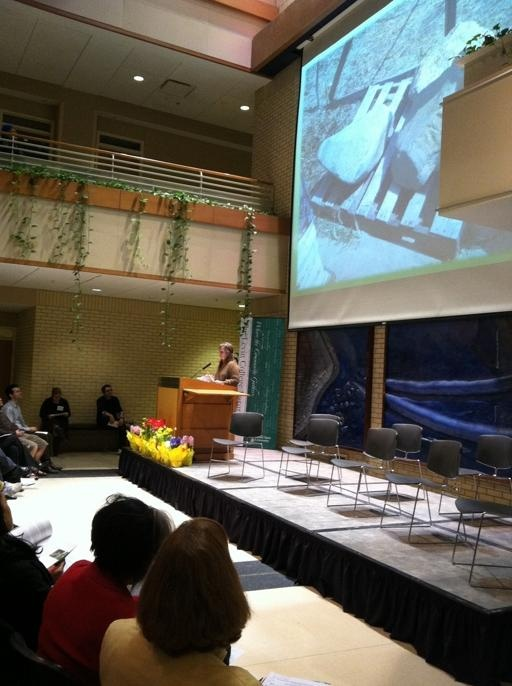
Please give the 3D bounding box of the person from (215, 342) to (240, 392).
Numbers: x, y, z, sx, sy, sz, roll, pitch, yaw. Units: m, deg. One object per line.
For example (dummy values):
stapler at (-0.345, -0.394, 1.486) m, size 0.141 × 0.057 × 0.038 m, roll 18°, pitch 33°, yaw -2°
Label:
person at (-0.469, 0.369, 8.228) m, size 0.386 × 0.727 × 0.614 m, roll 3°, pitch -6°, yaw -6°

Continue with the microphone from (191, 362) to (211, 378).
microphone at (-1.377, 0.677, 12.367) m, size 0.107 × 0.745 × 0.119 m, roll 21°, pitch -42°, yaw 15°

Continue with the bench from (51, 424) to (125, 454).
bench at (-3.588, 2.120, 11.032) m, size 1.383 × 0.555 × 0.724 m, roll 4°, pitch -12°, yaw -28°

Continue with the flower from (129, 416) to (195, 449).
flower at (-1.435, 1.425, 7.766) m, size 0.745 × 0.290 × 0.483 m, roll 12°, pitch -8°, yaw 44°
